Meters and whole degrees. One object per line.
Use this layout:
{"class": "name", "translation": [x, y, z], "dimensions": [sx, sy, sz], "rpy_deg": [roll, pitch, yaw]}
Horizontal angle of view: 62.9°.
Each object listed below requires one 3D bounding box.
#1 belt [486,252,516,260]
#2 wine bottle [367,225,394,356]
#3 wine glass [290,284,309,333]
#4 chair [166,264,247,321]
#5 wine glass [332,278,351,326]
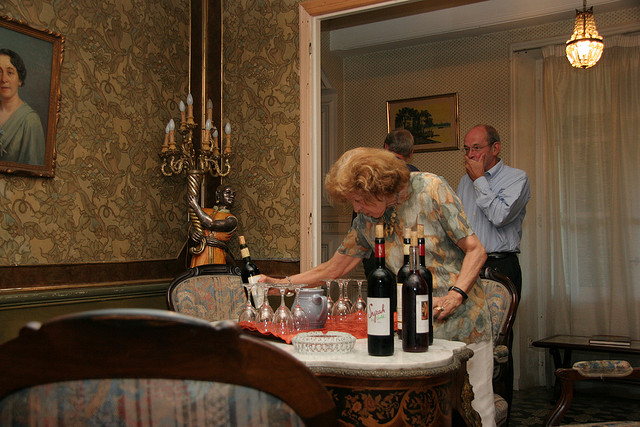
{"class": "belt", "translation": [1.511, 0.353, 4.314], "dimensions": [0.268, 0.056, 0.052], "rpy_deg": [0, -1, -16]}
{"class": "wine bottle", "translation": [0.231, 0.287, 1.981], "dimensions": [0.099, 0.482, 0.149], "rpy_deg": [0, 0, 16]}
{"class": "wine glass", "translation": [-0.097, 0.414, 2.221], "dimensions": [0.120, 0.216, 0.126], "rpy_deg": [-3, -6, 2]}
{"class": "chair", "translation": [-0.663, 0.476, 3.112], "dimensions": [0.353, 0.524, 0.288], "rpy_deg": [4, -12, -29]}
{"class": "wine glass", "translation": [0.107, 0.435, 2.495], "dimensions": [0.097, 0.240, 0.096], "rpy_deg": [6, -16, -29]}
